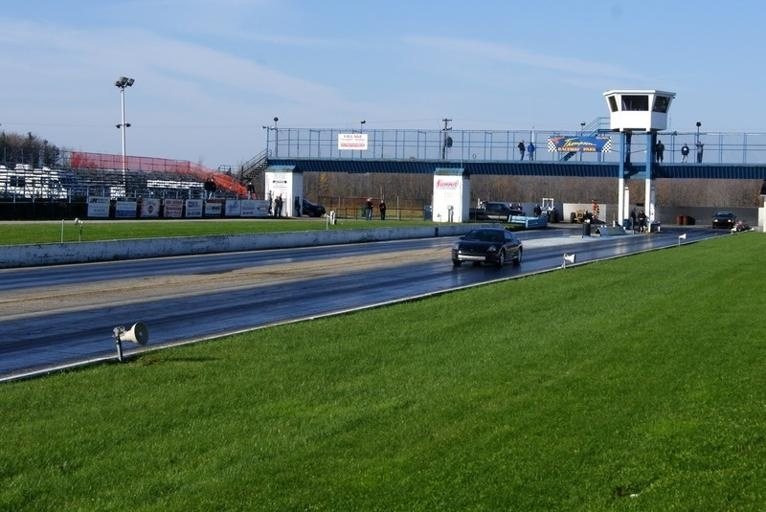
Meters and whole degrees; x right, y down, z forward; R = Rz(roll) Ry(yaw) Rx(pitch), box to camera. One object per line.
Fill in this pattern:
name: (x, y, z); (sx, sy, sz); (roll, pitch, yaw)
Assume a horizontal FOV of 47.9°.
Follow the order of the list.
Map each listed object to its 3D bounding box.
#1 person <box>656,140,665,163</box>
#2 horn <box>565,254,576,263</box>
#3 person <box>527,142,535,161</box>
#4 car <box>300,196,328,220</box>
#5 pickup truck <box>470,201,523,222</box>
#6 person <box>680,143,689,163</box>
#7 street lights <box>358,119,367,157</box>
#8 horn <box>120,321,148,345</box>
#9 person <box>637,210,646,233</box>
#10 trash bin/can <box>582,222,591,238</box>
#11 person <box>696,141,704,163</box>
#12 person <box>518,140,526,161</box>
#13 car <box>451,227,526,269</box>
person: (21.850, -8.354, 68.993); (0.529, 1.649, 1.773); (3, 11, 20)
horn: (7.201, 0.073, 33.524); (0.270, 0.243, 0.266); (0, 20, 7)
person: (12.898, -9.402, 75.981); (0.720, 1.477, 0.424); (7, 13, 38)
car: (-6.690, -4.576, 80.530); (2.275, 1.251, 1.398); (-2, 9, 5)
pickup truck: (9.304, -3.812, 73.807); (3.946, 1.322, 2.303); (3, 5, 11)
person: (25.236, -8.835, 72.677); (0.749, 1.373, 0.479); (4, 11, 27)
street lights: (-1.999, -10.981, 80.271); (0.864, 3.111, 0.827); (-1, 10, 0)
horn: (-4.737, 1.477, 16.360); (0.560, 0.515, 0.445); (-4, -1, 32)
person: (19.787, -2.740, 66.407); (0.441, 1.527, 1.896); (3, 11, 20)
trash bin/can: (13.042, -1.789, 55.816); (0.381, 0.995, 1.048); (2, 11, 14)
person: (26.191, -8.815, 71.834); (0.639, 1.538, 0.543); (4, 11, 24)
person: (12.157, -9.552, 76.383); (0.405, 1.554, 0.746); (-6, 11, -28)
car: (3.925, -0.236, 33.328); (1.940, 1.422, 3.179); (7, 14, 35)
